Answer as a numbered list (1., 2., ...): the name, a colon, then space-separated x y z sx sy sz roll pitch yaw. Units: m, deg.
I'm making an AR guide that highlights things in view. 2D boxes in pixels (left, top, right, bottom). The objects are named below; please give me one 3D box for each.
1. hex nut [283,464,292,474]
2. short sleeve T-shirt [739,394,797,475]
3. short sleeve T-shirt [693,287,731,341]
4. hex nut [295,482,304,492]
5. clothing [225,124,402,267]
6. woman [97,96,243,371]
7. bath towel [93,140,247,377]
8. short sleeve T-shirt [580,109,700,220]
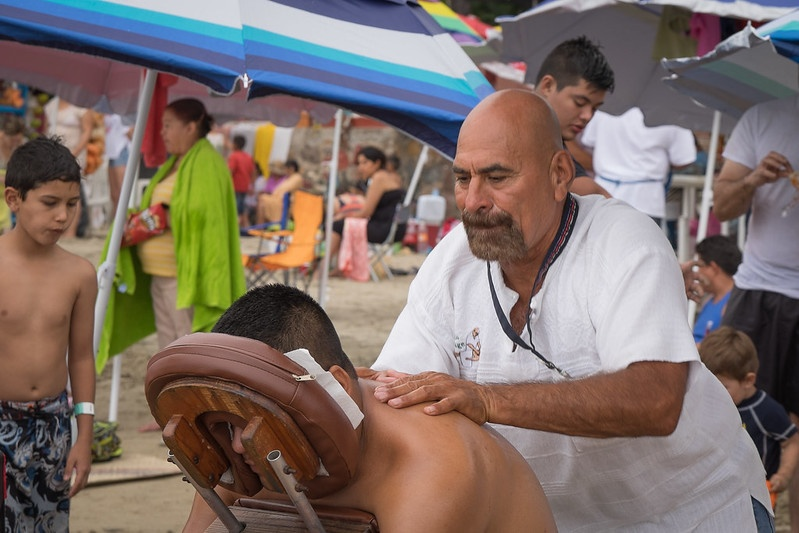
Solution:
1. hex nut: -0.427 0.785 4.465 0.046 0.041 0.008 2 2 -43
2. short sleeve T-shirt: 1.986 0.932 6.322 0.401 0.407 0.138 -2 9 5
3. short sleeve T-shirt: 1.943 0.309 7.249 0.131 0.238 0.220 24 42 -5
4. hex nut: -0.384 0.859 4.490 0.034 0.013 0.025 44 5 20
5. clothing: -1.083 -0.901 14.851 2.114 1.945 1.926 13 26 16
6. woman: -1.602 -0.019 7.871 0.951 2.042 0.750 0 3 -12
7. bath towel: -1.455 -0.097 7.994 1.150 1.512 0.767 -4 -11 39
8. short sleeve T-shirt: 1.889 -0.857 9.151 0.908 0.942 0.531 11 12 37
